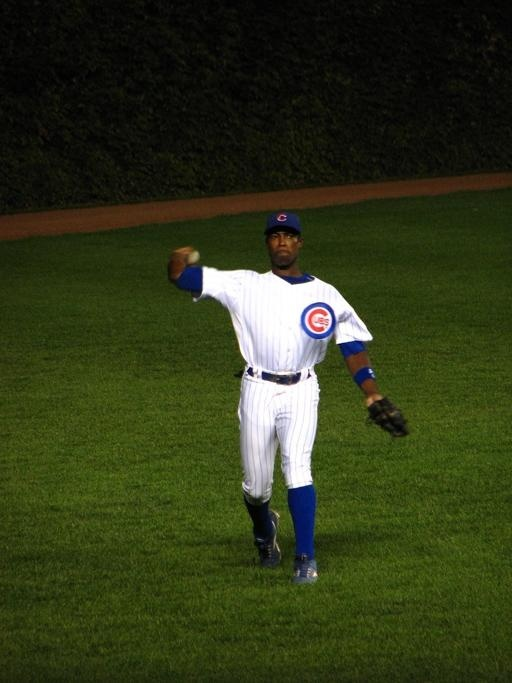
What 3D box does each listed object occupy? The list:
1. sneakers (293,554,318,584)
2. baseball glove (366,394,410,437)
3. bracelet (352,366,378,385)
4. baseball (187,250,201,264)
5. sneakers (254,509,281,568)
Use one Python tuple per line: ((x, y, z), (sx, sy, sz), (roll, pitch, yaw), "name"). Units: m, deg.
((0.235, 1.082, 4.809), (0.117, 0.166, 0.133), (-1, 81, 3), "sneakers")
((0.613, 0.328, 4.641), (0.128, 0.094, 0.217), (-34, 86, 24), "baseball glove")
((0.522, 0.147, 4.799), (0.073, 0.092, 0.086), (-16, 90, 2), "bracelet")
((-0.306, -0.424, 4.901), (0.060, 0.066, 0.048), (-3, 93, -1), "baseball")
((0.070, 0.980, 5.041), (0.102, 0.134, 0.286), (-2, 100, 16), "sneakers")
